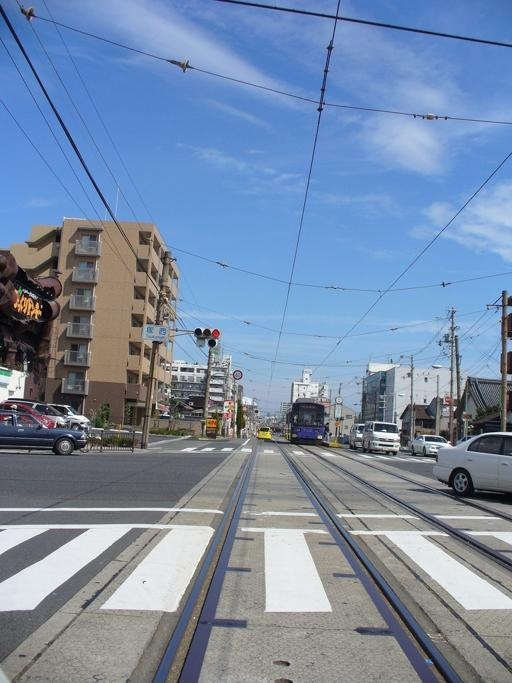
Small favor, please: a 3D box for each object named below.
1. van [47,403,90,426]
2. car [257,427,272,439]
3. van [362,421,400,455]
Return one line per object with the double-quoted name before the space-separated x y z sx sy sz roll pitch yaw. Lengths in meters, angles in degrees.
"van" -13.092 5.297 34.051 3.056 1.592 1.828 0 1 -2
"car" 1.285 13.521 71.049 1.565 1.154 2.416 2 2 6
"van" 9.397 7.350 37.627 1.985 1.711 3.385 2 -15 -1
